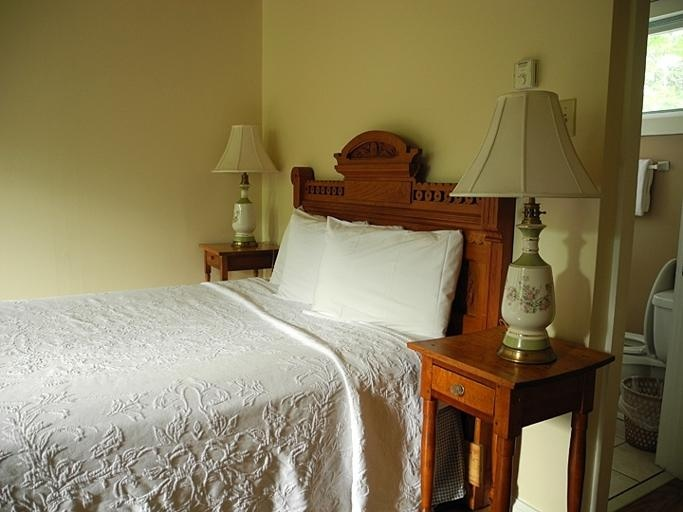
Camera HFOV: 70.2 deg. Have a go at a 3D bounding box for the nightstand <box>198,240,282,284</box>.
[{"bbox_3d":[-0.768,-0.012,3.631,0.369,0.396,0.370,-5,13,-33],"label":"nightstand"}]

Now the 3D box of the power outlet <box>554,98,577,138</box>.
[{"bbox_3d":[0.905,-0.549,1.943,0.077,0.153,0.016,-3,2,0],"label":"power outlet"}]

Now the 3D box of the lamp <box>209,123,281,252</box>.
[{"bbox_3d":[-0.732,-0.531,3.684,0.456,0.861,0.498,4,7,20],"label":"lamp"}]

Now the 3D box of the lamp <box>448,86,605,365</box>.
[{"bbox_3d":[0.654,-0.112,1.757,0.480,0.970,0.243,1,5,3],"label":"lamp"}]

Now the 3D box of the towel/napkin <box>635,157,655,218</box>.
[{"bbox_3d":[2.452,-0.551,3.896,0.099,0.461,0.101,5,6,38],"label":"towel/napkin"}]
